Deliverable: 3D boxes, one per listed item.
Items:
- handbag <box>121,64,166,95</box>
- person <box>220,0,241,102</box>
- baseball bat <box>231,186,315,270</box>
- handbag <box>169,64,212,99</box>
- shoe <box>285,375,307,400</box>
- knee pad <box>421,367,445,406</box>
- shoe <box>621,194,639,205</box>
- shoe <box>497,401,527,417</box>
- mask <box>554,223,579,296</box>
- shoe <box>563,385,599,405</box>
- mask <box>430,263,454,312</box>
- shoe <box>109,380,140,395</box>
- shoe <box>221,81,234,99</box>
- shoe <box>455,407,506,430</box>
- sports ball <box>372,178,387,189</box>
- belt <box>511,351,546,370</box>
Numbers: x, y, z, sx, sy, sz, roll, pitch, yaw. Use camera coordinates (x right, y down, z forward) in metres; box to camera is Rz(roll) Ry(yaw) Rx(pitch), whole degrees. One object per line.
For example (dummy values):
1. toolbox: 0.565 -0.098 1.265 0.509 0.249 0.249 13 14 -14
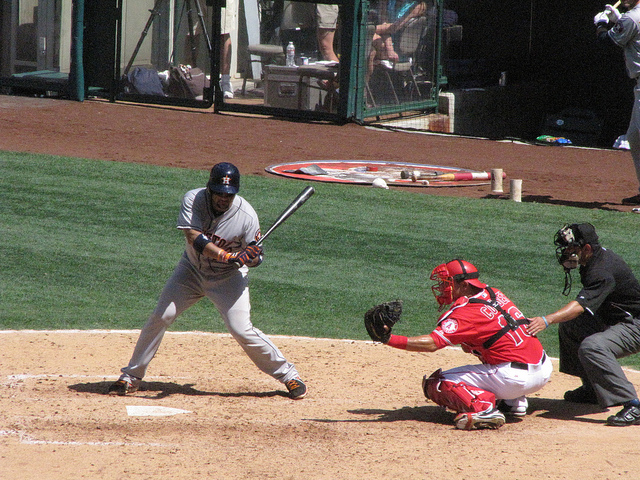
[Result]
1. handbag: -3.522 -3.153 24.119 0.849 0.558 0.187 7 7 15
2. person: -1.834 -3.645 23.496 0.265 1.911 0.426 9 8 17
3. baseball bat: -0.613 -0.098 15.566 2.017 0.162 0.154 -40 15 -34
4. handbag: -2.674 -3.157 24.191 0.583 0.608 1.060 8 16 27
5. shoe: -0.303 1.647 13.559 0.150 0.128 0.349 44 -2 -22
6. knee pad: 1.192 1.602 13.193 0.221 0.391 0.309 7 7 4
7. shoe: 4.670 -0.605 18.509 0.260 0.157 0.216 6 6 5
8. shoe: 2.042 1.847 13.233 0.142 0.128 0.359 -4 6 -42
9. mask: 2.670 0.249 13.327 0.306 0.821 0.332 -3 20 10
10. shoe: 2.862 1.735 13.594 0.399 0.155 0.144 12 22 16
11. mask: 1.284 0.519 13.081 0.264 0.530 0.343 7 7 6
12. shoe: -2.165 1.624 13.356 0.315 0.115 0.129 6 13 7
13. shoe: -1.843 -2.910 23.736 0.263 0.342 0.087 6 7 3
14. shoe: 1.607 1.923 12.861 0.625 0.184 0.257 -2 39 -6
15. sports ball: 0.897 -0.873 18.975 0.211 0.131 0.166 7 7 18
16. belt: 2.209 1.309 12.976 0.428 0.150 0.079 1 9 -30
